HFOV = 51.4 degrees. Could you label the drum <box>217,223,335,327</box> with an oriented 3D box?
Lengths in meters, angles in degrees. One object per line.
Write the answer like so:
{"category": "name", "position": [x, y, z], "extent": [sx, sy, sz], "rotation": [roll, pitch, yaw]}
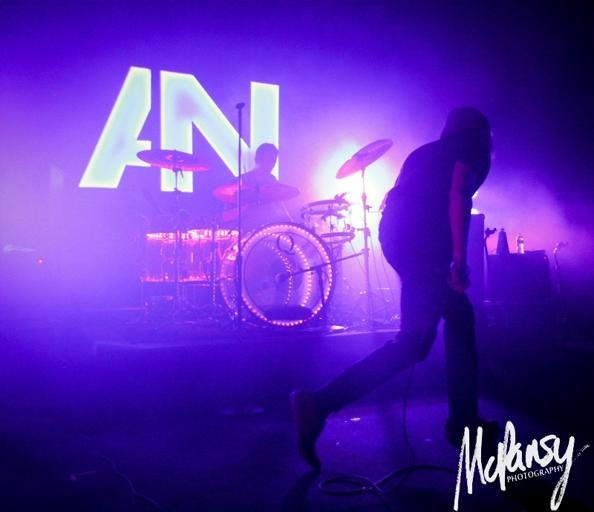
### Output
{"category": "drum", "position": [-0.219, 0.138, 5.532], "extent": [0.792, 0.964, 0.877], "rotation": [10, -3, -16]}

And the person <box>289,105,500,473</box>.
{"category": "person", "position": [0.763, 0.167, 4.086], "extent": [1.207, 2.344, 0.444], "rotation": [2, 6, -9]}

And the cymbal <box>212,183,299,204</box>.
{"category": "cymbal", "position": [-0.448, -0.644, 6.289], "extent": [0.661, 0.238, 0.933], "rotation": [-1, 9, -34]}

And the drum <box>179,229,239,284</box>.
{"category": "drum", "position": [-0.847, -0.020, 6.006], "extent": [0.470, 0.577, 0.572], "rotation": [10, 22, -10]}

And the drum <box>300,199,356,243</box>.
{"category": "drum", "position": [0.331, -0.367, 6.797], "extent": [0.504, 0.429, 0.515], "rotation": [-1, -13, -32]}

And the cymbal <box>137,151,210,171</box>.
{"category": "cymbal", "position": [-1.302, -1.014, 6.601], "extent": [0.489, 0.222, 0.673], "rotation": [10, 9, 38]}

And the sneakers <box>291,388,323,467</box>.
{"category": "sneakers", "position": [0.073, 1.064, 3.890], "extent": [0.263, 0.417, 0.092], "rotation": [7, -14, -44]}
